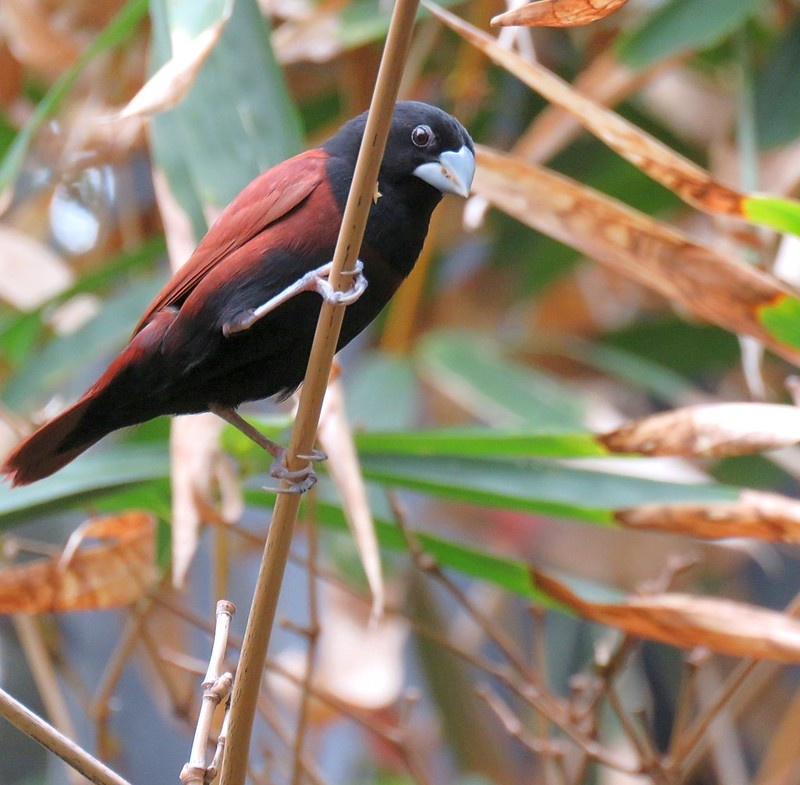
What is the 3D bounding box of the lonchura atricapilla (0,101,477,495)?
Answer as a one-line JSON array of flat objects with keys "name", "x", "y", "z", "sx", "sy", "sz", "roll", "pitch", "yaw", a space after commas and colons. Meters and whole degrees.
[{"name": "lonchura atricapilla", "x": -0.356, "y": -0.181, "z": 2.434, "sx": 1.243, "sy": 0.668, "sz": 0.377, "roll": -21, "pitch": -43, "yaw": 10}]
